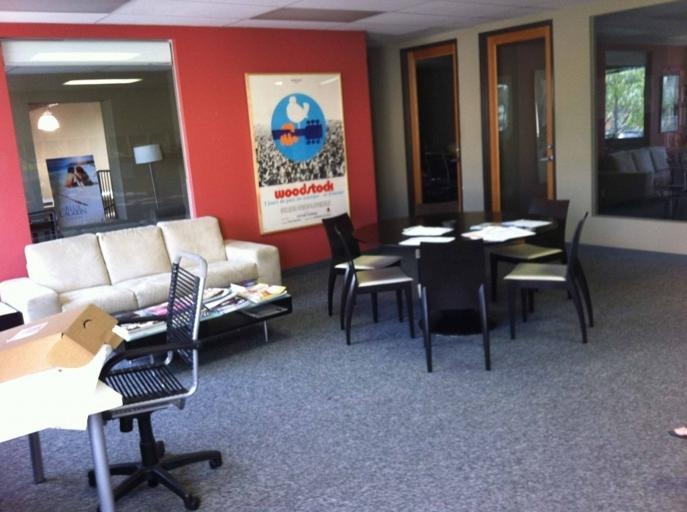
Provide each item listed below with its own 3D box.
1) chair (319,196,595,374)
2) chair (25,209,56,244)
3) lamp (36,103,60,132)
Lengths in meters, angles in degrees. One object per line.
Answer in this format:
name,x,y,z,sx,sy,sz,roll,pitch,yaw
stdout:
chair,0.914,0.140,4.970,2.042,1.082,2.259,-10,14,-11
chair,-3.076,-0.260,5.493,0.169,0.236,0.165,-17,9,21
lamp,-2.917,-1.383,5.336,0.235,0.263,0.234,-8,10,-27
